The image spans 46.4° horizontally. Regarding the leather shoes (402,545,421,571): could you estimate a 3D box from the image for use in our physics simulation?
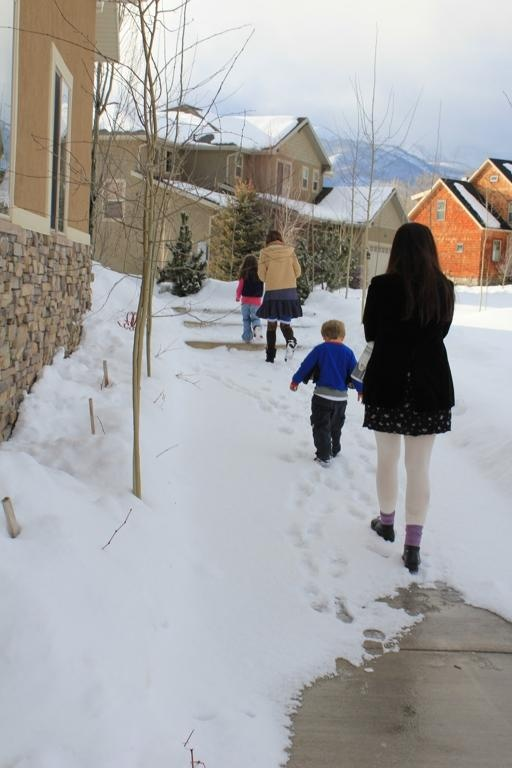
[{"bbox_3d":[0.804,0.903,3.090,0.048,0.079,0.154,1,3,5],"label":"leather shoes"}]

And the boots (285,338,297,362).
[{"bbox_3d":[0.442,-0.437,7.760,0.100,0.363,0.139,11,7,3],"label":"boots"}]

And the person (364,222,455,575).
[{"bbox_3d":[0.770,0.045,3.173,0.516,1.752,0.373,9,12,28],"label":"person"}]

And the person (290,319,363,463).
[{"bbox_3d":[0.514,0.047,4.679,0.475,1.089,0.396,3,10,-1],"label":"person"}]

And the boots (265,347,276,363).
[{"bbox_3d":[0.173,-0.361,7.537,0.123,0.176,0.162,-5,17,-1],"label":"boots"}]

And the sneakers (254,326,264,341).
[{"bbox_3d":[0.041,-0.698,8.937,0.101,0.292,0.113,-4,24,0],"label":"sneakers"}]

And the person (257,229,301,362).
[{"bbox_3d":[0.291,-1.126,7.717,0.587,1.616,0.834,4,11,1],"label":"person"}]
